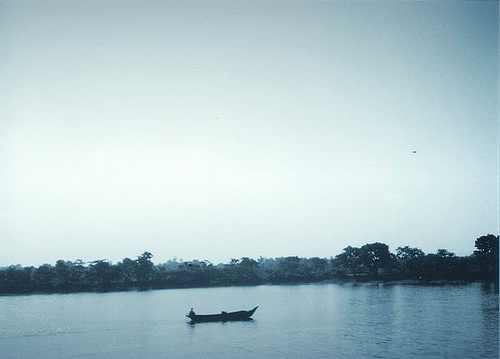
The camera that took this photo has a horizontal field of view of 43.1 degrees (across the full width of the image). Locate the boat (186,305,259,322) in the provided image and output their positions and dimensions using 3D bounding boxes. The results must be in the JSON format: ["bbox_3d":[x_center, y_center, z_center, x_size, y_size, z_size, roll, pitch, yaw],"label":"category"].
[{"bbox_3d":[-2.037,9.913,46.590,3.466,0.708,0.812,-3,-7,-14],"label":"boat"}]

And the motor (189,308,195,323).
[{"bbox_3d":[-4.132,9.736,44.890,0.384,0.899,0.485,-1,4,-5],"label":"motor"}]
